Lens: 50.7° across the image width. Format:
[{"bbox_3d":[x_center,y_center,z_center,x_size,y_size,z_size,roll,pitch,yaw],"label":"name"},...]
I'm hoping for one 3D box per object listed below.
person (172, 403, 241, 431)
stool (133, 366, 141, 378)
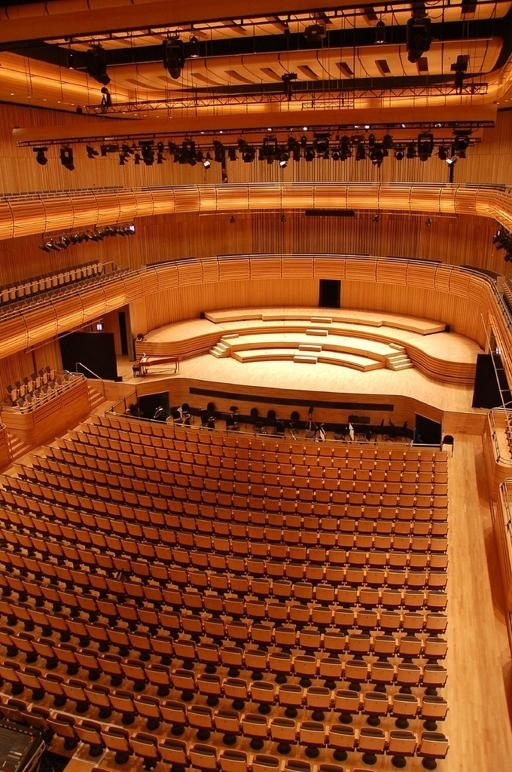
[{"bbox_3d":[-1.189,0.785,13.807,1.183,0.509,0.347,5,8,8],"label":"person"},{"bbox_3d":[-3.239,-0.391,14.694,0.138,0.286,0.148,-11,36,-19],"label":"stool"}]
